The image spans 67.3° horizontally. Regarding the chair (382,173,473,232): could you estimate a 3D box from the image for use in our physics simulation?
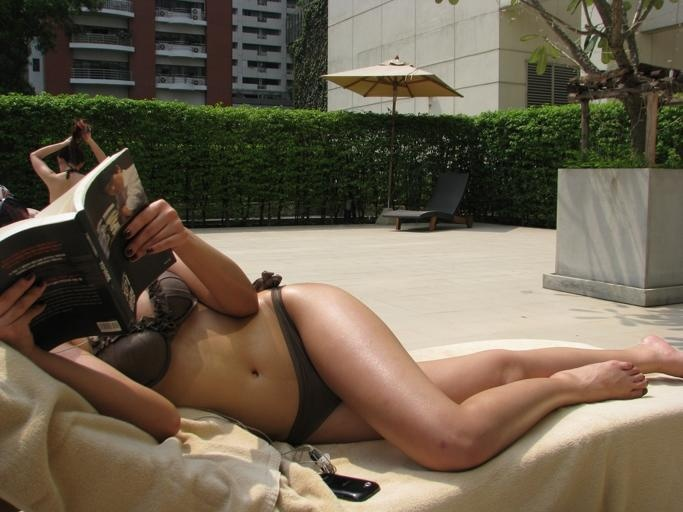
[{"bbox_3d":[2.005,-1.203,11.377,1.941,1.537,1.128,-6,7,-42],"label":"chair"}]
